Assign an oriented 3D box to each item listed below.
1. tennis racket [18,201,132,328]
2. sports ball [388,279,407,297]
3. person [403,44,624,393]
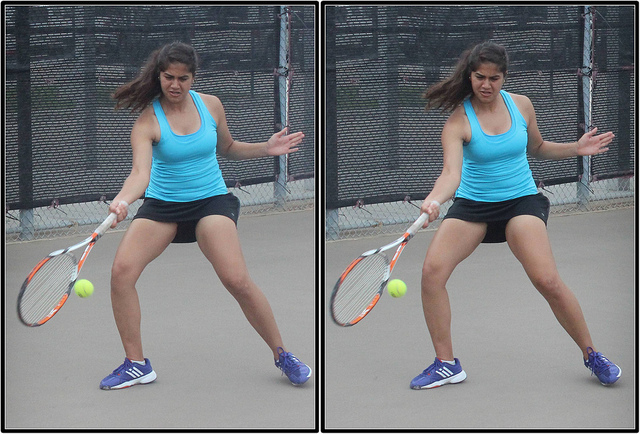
[{"bbox_3d":[-1.807,0.359,4.503,1.038,0.355,0.077,-47,32,-14],"label":"tennis racket"},{"bbox_3d":[0.493,0.451,3.884,0.103,0.114,0.105,0,-1,0],"label":"sports ball"},{"bbox_3d":[1.185,0.045,4.173,1.480,2.386,0.762,-9,15,-8],"label":"person"}]
